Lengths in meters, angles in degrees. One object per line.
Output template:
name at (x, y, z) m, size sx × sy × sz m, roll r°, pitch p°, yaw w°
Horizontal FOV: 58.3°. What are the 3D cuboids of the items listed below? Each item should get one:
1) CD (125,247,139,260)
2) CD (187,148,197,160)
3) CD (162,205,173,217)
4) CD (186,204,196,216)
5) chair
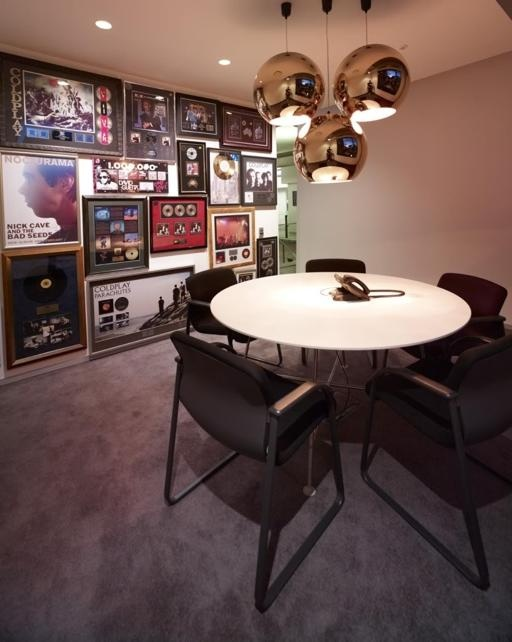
CD at (-1.078, -0.596, 3.973) m, size 0.021 × 0.105 × 0.095 m, roll 8°, pitch -2°, yaw 35°
CD at (-0.609, -1.590, 4.330) m, size 0.092 × 0.102 × 0.093 m, roll -7°, pitch 30°, yaw -42°
CD at (-0.814, -1.023, 4.202) m, size 0.023 × 0.104 × 0.096 m, roll 10°, pitch -11°, yaw 29°
CD at (-0.628, -1.084, 4.426) m, size 0.024 × 0.103 × 0.103 m, roll 11°, pitch 52°, yaw 29°
chair at (0.255, 0.115, 2.009) m, size 1.211 × 0.713 × 1.222 m, roll 17°, pitch 26°, yaw 42°
